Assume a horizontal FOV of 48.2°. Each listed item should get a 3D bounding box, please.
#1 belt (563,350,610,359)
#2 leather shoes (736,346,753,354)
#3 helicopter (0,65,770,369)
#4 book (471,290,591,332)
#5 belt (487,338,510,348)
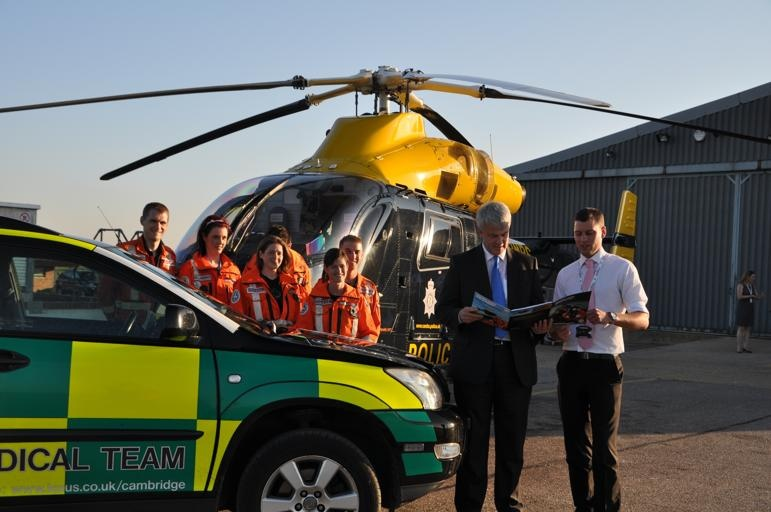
[{"bbox_3d":[1.604,0.797,6.870,0.381,0.065,0.112,-3,-6,35],"label":"belt"},{"bbox_3d":[6.960,1.833,16.654,0.316,0.102,0.106,-5,6,-43],"label":"leather shoes"},{"bbox_3d":[-0.268,-0.764,9.867,5.409,1.414,5.222,2,0,32],"label":"helicopter"},{"bbox_3d":[1.108,0.420,6.602,0.890,0.272,0.173,-1,-5,8],"label":"book"},{"bbox_3d":[0.914,0.701,6.826,0.136,0.072,0.019,0,-6,-9],"label":"belt"}]
